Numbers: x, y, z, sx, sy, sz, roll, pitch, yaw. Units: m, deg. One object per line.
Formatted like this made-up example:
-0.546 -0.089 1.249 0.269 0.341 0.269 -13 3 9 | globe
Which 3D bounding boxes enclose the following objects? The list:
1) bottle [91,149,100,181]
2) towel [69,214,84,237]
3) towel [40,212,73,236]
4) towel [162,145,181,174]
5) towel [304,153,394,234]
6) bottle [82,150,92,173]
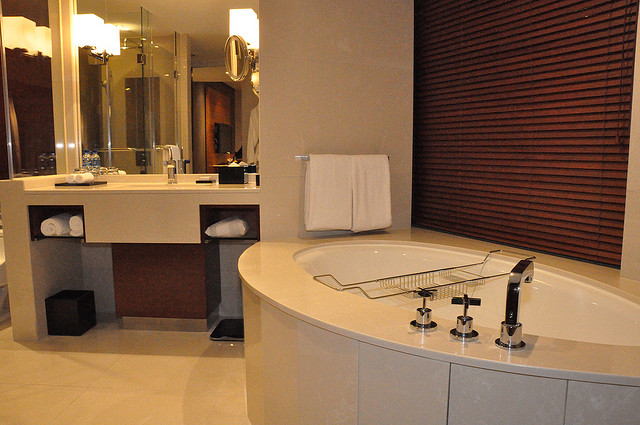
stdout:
-1.782 -0.381 3.887 0.065 0.240 0.104 -3 8 -4 | bottle
-1.739 0.093 3.506 0.139 0.129 0.045 -4 6 -5 | towel
-1.905 0.038 3.528 0.137 0.094 0.253 2 7 -7 | towel
-1.156 -0.410 3.783 0.168 0.225 0.141 -2 8 1 | towel
0.196 -0.148 3.549 0.626 0.544 0.078 -4 9 -13 | towel
-1.855 -0.416 3.918 0.054 0.168 0.100 -9 11 -39 | bottle
